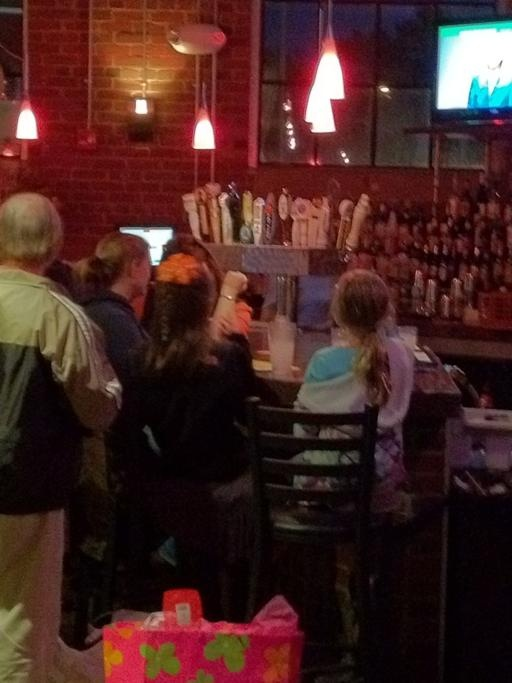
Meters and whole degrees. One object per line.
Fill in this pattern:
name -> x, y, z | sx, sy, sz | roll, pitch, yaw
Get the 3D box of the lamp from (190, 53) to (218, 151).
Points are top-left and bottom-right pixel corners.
lamp -> -0.350, -1.728, 4.338 | 0.169, 0.745, 0.626 | 2, 10, -6

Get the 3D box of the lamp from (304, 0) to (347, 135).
lamp -> 0.316, -1.242, 2.731 | 0.169, 0.537, 0.463 | 3, 10, 4

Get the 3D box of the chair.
chair -> 0.181, 0.484, 1.686 | 0.396, 0.608, 0.419 | 2, -3, -1
